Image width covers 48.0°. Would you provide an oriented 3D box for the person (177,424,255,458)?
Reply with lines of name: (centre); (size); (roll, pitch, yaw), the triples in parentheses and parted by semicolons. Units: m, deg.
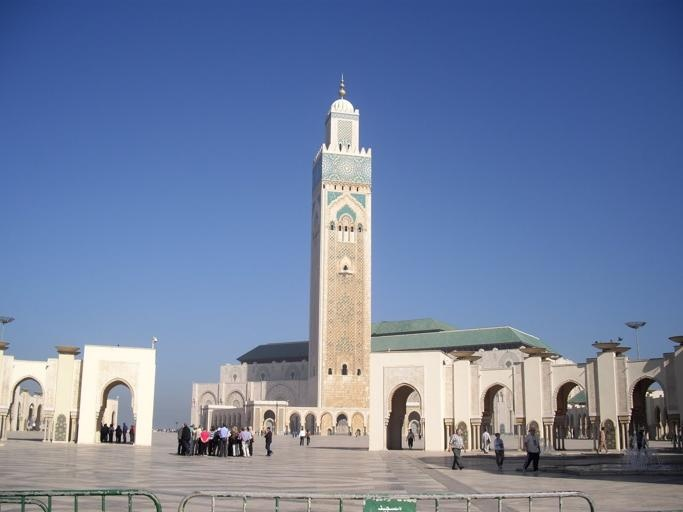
person: (-3.738, 5.391, 22.526); (2.142, 0.917, 1.316); (1, -14, -4)
